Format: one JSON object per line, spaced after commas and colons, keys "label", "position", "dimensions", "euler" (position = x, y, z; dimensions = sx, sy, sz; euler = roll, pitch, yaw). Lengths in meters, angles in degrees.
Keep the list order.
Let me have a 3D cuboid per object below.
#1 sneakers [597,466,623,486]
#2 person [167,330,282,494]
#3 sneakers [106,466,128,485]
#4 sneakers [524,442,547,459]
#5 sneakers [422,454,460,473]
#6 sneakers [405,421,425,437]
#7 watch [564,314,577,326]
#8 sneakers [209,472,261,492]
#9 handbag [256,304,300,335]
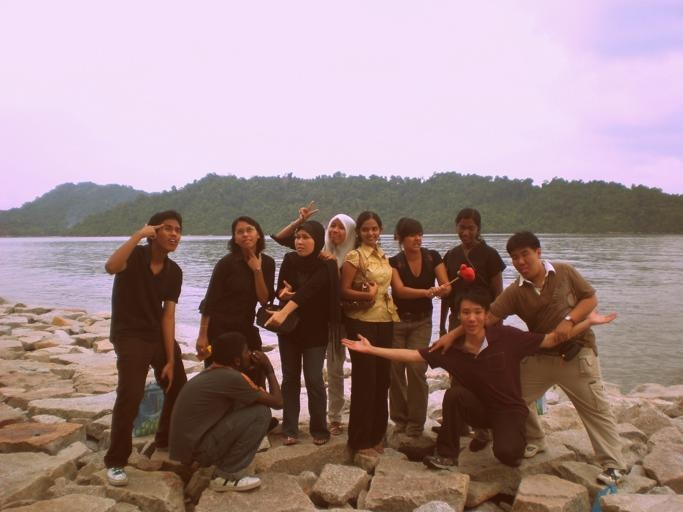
{"label": "sneakers", "position": [2.778, 2.263, 5.312], "dimensions": [0.129, 0.148, 0.284], "euler": [8, -7, 15]}
{"label": "person", "position": [-1.144, 1.542, 5.181], "dimensions": [1.086, 1.520, 0.445], "euler": [1, 4, -19]}
{"label": "sneakers", "position": [-2.155, 2.096, 4.928], "dimensions": [0.250, 0.153, 0.128], "euler": [3, 4, 6]}
{"label": "sneakers", "position": [2.147, 2.149, 5.694], "dimensions": [0.198, 0.071, 0.209], "euler": [-7, 9, 24]}
{"label": "sneakers", "position": [1.040, 2.149, 5.423], "dimensions": [0.376, 0.184, 0.145], "euler": [10, -2, -1]}
{"label": "sneakers", "position": [0.885, 2.103, 6.227], "dimensions": [0.288, 0.121, 0.097], "euler": [5, 1, -19]}
{"label": "watch", "position": [2.401, 0.669, 5.390], "dimensions": [0.057, 0.084, 0.089], "euler": [16, 45, 41]}
{"label": "sneakers", "position": [-1.057, 2.246, 5.173], "dimensions": [0.483, 0.206, 0.181], "euler": [-1, -4, 1]}
{"label": "handbag", "position": [-0.716, 0.744, 5.754], "dimensions": [0.397, 0.297, 0.121], "euler": [12, -28, 13]}
